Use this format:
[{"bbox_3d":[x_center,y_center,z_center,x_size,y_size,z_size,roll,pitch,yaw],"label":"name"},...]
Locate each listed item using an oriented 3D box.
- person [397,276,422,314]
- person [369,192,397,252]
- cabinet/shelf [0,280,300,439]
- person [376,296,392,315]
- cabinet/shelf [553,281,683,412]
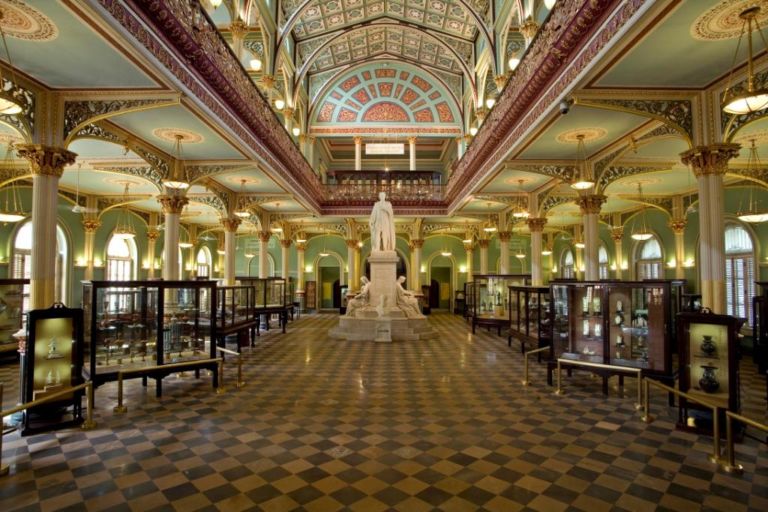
[{"bbox_3d":[1.072,1.618,20.130,1.080,1.639,1.492,0,9,2],"label":"person"},{"bbox_3d":[-0.065,-1.419,19.694,0.955,2.409,0.953,0,9,-2],"label":"person"},{"bbox_3d":[-5.769,2.049,11.883,2.731,3.221,7.075,4,10,23],"label":"cabinet/shelf"},{"bbox_3d":[-0.014,1.982,18.864,0.874,0.949,0.557,1,-5,-3],"label":"person"},{"bbox_3d":[5.626,2.151,11.238,3.012,2.545,1.146,-2,-5,40],"label":"cabinet/shelf"}]
